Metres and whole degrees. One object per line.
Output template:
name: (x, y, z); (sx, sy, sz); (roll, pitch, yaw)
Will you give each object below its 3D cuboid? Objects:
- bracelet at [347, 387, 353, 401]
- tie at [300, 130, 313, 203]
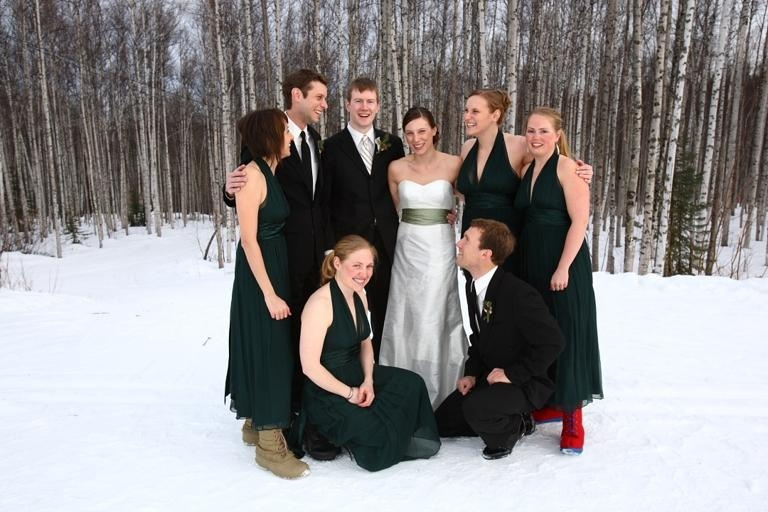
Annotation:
bracelet: (-0.492, 2.052, 9.537); (0.049, 0.135, 0.119); (14, -11, -4)
tie: (-1.213, -1.495, 10.073); (0.141, 0.992, 0.097); (6, -19, -35)
